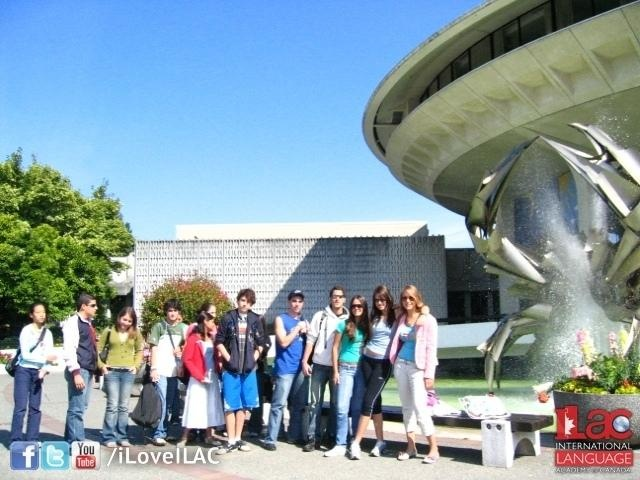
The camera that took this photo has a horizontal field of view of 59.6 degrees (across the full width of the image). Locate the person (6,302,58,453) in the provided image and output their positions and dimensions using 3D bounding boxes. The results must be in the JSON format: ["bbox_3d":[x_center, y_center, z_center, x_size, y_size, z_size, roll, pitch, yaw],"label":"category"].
[{"bbox_3d":[-4.474,2.018,8.681,0.550,2.098,0.497,8,-16,-28],"label":"person"}]

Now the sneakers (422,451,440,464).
[{"bbox_3d":[1.557,3.057,7.850,0.228,0.117,0.272,-2,-15,10],"label":"sneakers"}]

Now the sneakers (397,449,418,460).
[{"bbox_3d":[1.259,3.090,8.039,0.310,0.128,0.115,13,-24,-32],"label":"sneakers"}]

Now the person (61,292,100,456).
[{"bbox_3d":[-3.742,1.959,8.662,0.556,2.242,0.565,7,-15,-22],"label":"person"}]

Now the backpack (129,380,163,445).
[{"bbox_3d":[-2.712,2.724,8.893,0.509,0.804,0.277,1,-6,20],"label":"backpack"}]

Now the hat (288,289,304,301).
[{"bbox_3d":[-0.398,0.866,8.975,0.181,0.108,0.285,4,-8,-8],"label":"hat"}]

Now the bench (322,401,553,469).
[{"bbox_3d":[1.934,3.025,8.879,3.768,0.719,2.833,1,-15,-1],"label":"bench"}]

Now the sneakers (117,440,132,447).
[{"bbox_3d":[-3.043,3.163,8.730,0.177,0.105,0.339,6,-16,-19],"label":"sneakers"}]
